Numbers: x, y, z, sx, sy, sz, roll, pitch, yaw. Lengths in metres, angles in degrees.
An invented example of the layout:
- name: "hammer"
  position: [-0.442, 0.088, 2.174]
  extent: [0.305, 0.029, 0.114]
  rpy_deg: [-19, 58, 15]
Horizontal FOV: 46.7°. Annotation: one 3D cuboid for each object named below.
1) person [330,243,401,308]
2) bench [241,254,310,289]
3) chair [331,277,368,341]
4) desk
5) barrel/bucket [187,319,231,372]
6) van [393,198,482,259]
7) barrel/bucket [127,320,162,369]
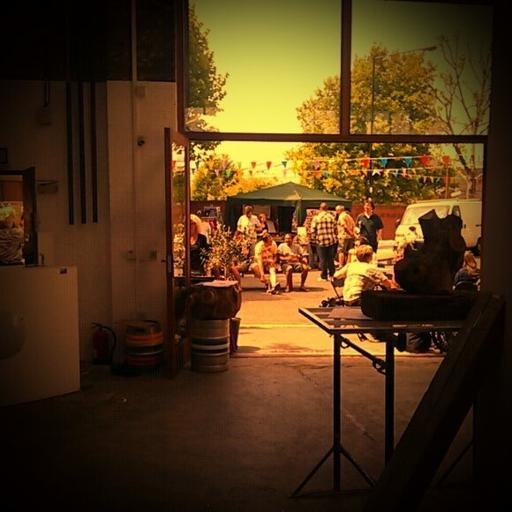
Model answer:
- name: "person"
  position: [1.140, 0.386, 6.534]
  extent: [0.542, 0.993, 0.722]
  rpy_deg: [9, -2, 16]
- name: "bench"
  position: [0.472, 0.144, 11.940]
  extent: [1.062, 0.949, 1.917]
  rpy_deg: [0, 5, 4]
- name: "chair"
  position: [1.017, 0.446, 6.362]
  extent: [0.360, 0.527, 0.851]
  rpy_deg: [1, 18, 6]
- name: "desk"
  position: [0.613, 0.810, 3.127]
  extent: [0.629, 0.978, 1.260]
  rpy_deg: [2, -12, -20]
- name: "barrel/bucket"
  position: [-0.459, 0.902, 6.092]
  extent: [0.425, 0.542, 0.427]
  rpy_deg: [0, -1, 0]
- name: "van"
  position: [3.857, -0.671, 12.598]
  extent: [1.846, 1.076, 1.026]
  rpy_deg: [3, 5, 34]
- name: "barrel/bucket"
  position: [-1.140, 0.889, 6.083]
  extent: [0.367, 0.474, 0.416]
  rpy_deg: [0, -2, -4]
